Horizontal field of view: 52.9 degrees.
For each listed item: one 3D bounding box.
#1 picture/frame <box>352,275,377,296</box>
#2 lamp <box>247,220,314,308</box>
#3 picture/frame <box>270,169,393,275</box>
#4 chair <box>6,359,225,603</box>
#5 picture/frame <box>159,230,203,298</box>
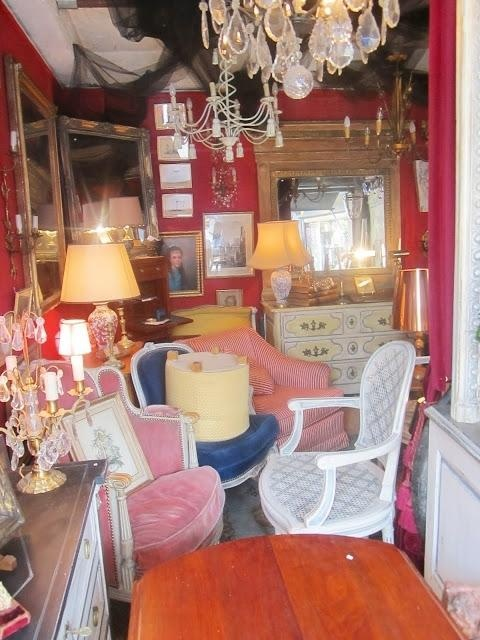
[{"bbox_3d":[1.323,-0.365,5.159,0.185,0.189,0.192,-3,5,5],"label":"picture/frame"},{"bbox_3d":[0.338,-0.530,4.668,0.533,0.799,0.687,-4,5,-10],"label":"lamp"},{"bbox_3d":[0.918,-1.080,5.098,1.251,0.985,0.101,-2,10,-4],"label":"picture/frame"},{"bbox_3d":[-0.469,0.730,2.515,0.978,1.257,0.946,0,7,18],"label":"chair"},{"bbox_3d":[-0.623,-0.608,4.983,0.719,0.757,0.056,-5,16,-21],"label":"picture/frame"}]
